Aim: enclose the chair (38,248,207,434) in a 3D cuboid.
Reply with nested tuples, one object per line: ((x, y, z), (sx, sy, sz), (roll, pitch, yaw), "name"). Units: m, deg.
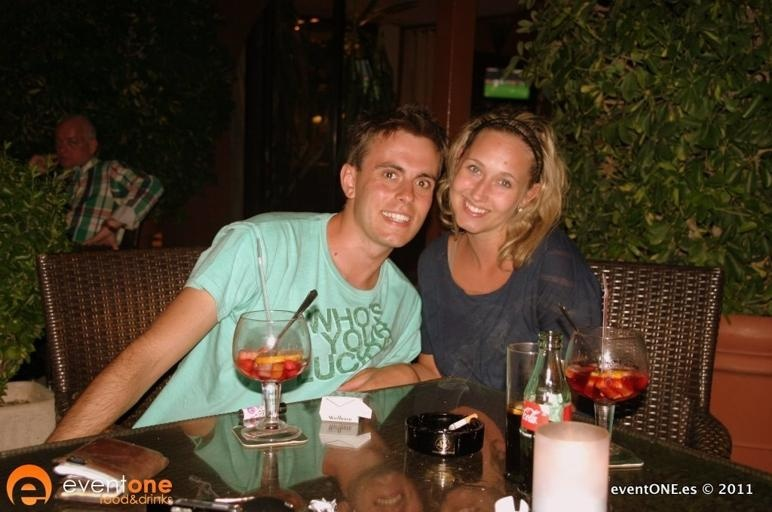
((-1.176, 0.349, 3.101), (0.764, 0.947, 0.726), (0, 3, -32), "chair")

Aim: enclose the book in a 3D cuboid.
((-0.859, 0.660, 1.930), (0.308, 0.121, 0.182), (4, 11, 12), "book")
